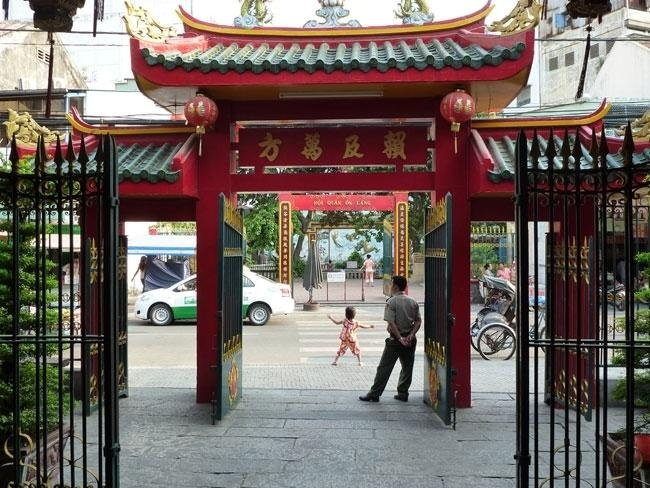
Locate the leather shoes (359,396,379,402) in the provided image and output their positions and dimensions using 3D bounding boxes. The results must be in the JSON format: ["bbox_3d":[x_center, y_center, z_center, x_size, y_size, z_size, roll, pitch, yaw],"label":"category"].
[{"bbox_3d":[0.646,2.293,12.308,0.276,0.129,0.105,5,-2,16],"label":"leather shoes"}]

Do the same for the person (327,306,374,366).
[{"bbox_3d":[0.525,1.978,17.511,1.074,1.510,0.376,0,0,-1],"label":"person"}]

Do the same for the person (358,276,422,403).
[{"bbox_3d":[1.033,1.408,12.437,0.788,1.867,0.715,-1,-2,7],"label":"person"}]

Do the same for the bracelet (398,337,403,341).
[{"bbox_3d":[1.095,1.380,12.088,0.046,0.057,0.026,-5,-14,6],"label":"bracelet"}]

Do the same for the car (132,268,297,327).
[{"bbox_3d":[-2.799,1.451,20.946,3.551,1.296,1.705,2,-4,-1],"label":"car"}]
